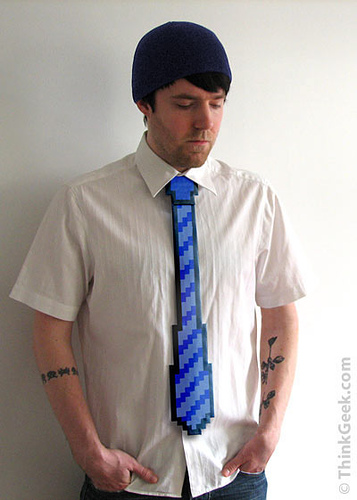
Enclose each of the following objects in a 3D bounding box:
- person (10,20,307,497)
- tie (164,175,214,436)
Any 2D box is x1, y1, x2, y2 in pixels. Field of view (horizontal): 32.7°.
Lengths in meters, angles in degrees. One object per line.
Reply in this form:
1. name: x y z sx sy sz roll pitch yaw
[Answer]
1. person: -0.024 0.038 1.616 0.780 1.240 0.315 2 -2 -21
2. tie: 0.025 0.140 1.566 0.121 0.655 0.017 -6 -7 29
